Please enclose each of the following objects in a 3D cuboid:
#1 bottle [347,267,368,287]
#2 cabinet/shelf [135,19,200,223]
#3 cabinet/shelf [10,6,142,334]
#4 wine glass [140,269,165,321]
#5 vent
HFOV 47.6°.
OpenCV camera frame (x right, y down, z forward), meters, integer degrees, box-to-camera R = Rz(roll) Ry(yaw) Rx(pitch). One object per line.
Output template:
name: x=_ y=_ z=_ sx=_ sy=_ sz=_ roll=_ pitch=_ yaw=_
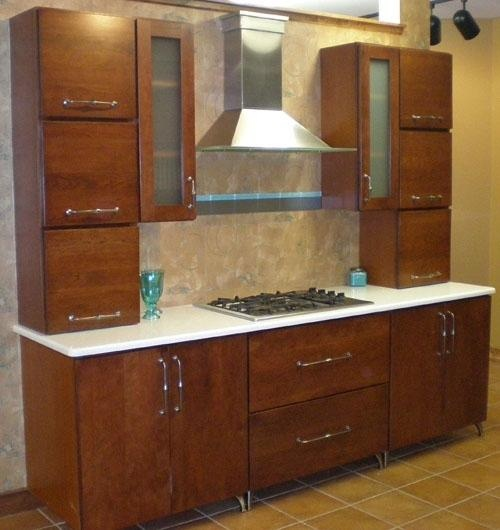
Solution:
bottle: x=0.640 y=0.080 z=3.378 sx=0.127 sy=0.106 sz=0.087 roll=-1 pitch=3 yaw=-16
cabinet/shelf: x=-0.332 y=-0.584 z=2.305 sx=0.081 sy=0.810 sz=0.299 roll=3 pitch=5 yaw=41
cabinet/shelf: x=-0.674 y=-0.362 z=2.239 sx=0.399 sy=1.208 sz=0.408 roll=-3 pitch=4 yaw=-34
wine glass: x=-0.420 y=0.128 z=2.427 sx=0.096 sy=0.206 sz=0.082 roll=-1 pitch=4 yaw=-11
vent: x=0.037 y=-0.888 z=2.782 sx=0.791 sy=0.627 sz=0.819 roll=-5 pitch=19 yaw=-14
